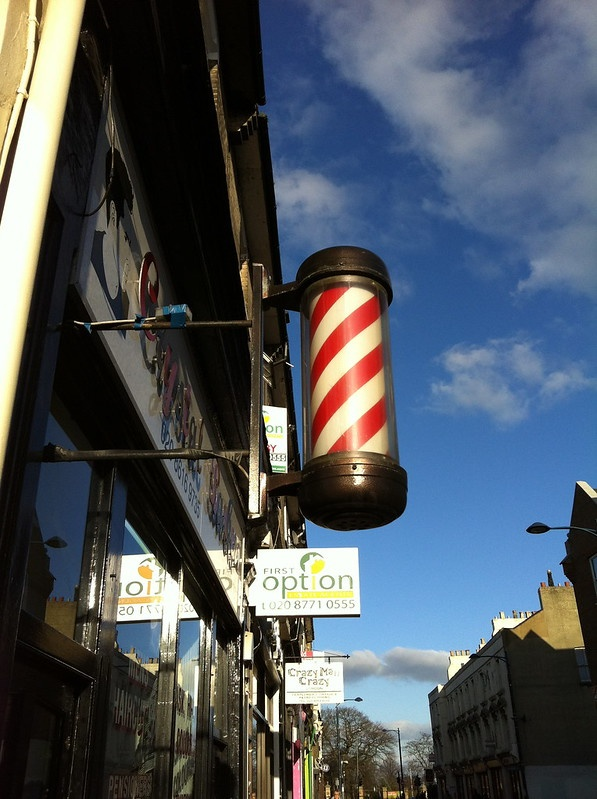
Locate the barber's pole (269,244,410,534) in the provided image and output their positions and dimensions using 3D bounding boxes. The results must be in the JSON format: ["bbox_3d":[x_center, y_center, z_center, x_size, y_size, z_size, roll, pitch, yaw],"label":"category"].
[{"bbox_3d":[0.211,-0.060,3.020,0.625,1.585,0.466,-7,-23,13],"label":"barber's pole"}]
